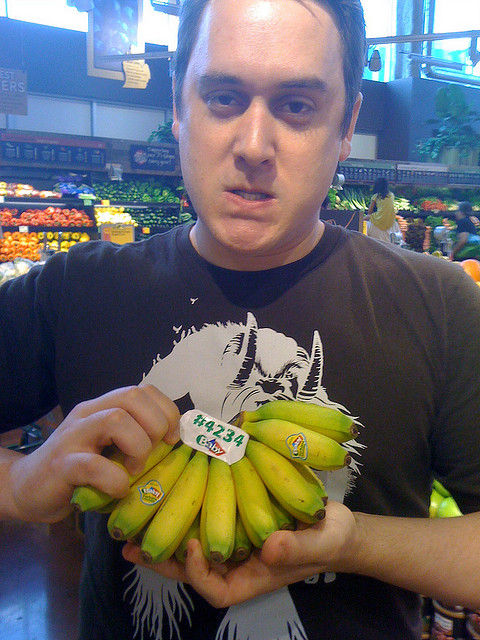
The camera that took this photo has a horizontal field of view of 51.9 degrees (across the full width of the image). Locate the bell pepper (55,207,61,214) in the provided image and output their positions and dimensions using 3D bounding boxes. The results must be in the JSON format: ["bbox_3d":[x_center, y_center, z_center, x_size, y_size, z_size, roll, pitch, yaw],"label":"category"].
[{"bbox_3d":[-2.359,-1.411,6.376,0.070,0.083,0.231,-5,13,-19],"label":"bell pepper"}]

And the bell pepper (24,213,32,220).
[{"bbox_3d":[-2.606,-1.274,6.071,0.088,0.077,0.112,-3,12,-7],"label":"bell pepper"}]

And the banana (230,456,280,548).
[{"bbox_3d":[0.018,0.270,0.740,0.047,0.156,0.050,-24,-32,-3],"label":"banana"}]

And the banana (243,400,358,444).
[{"bbox_3d":[0.086,0.176,0.825,0.234,0.082,0.061,3,35,-19],"label":"banana"}]

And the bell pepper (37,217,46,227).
[{"bbox_3d":[-2.452,-1.208,6.128,0.095,0.120,0.095,-27,-24,28],"label":"bell pepper"}]

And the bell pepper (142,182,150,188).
[{"bbox_3d":[-1.477,-2.110,7.716,0.106,0.084,0.135,-3,12,-10],"label":"bell pepper"}]

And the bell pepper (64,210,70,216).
[{"bbox_3d":[-2.252,-1.388,6.400,0.064,0.072,0.054,-5,13,-19],"label":"bell pepper"}]

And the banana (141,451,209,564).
[{"bbox_3d":[-0.100,0.296,0.742,0.059,0.063,0.209,24,26,6],"label":"banana"}]

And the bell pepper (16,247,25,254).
[{"bbox_3d":[-2.559,-0.801,5.731,0.091,0.086,0.032,7,-10,-30],"label":"bell pepper"}]

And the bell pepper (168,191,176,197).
[{"bbox_3d":[-1.079,-2.010,7.867,0.095,0.115,0.030,9,-14,-25],"label":"bell pepper"}]

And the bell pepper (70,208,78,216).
[{"bbox_3d":[-2.188,-1.413,6.475,0.097,0.091,0.162,-5,12,-18],"label":"bell pepper"}]

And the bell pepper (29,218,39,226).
[{"bbox_3d":[-2.523,-1.186,6.011,0.082,0.078,0.029,15,-1,-19],"label":"bell pepper"}]

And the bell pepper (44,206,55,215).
[{"bbox_3d":[-2.418,-1.389,6.270,0.100,0.057,0.122,10,19,2],"label":"bell pepper"}]

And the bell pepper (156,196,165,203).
[{"bbox_3d":[-1.224,-1.842,7.544,0.124,0.099,0.163,-3,12,-8],"label":"bell pepper"}]

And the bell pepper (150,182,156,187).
[{"bbox_3d":[-1.391,-2.151,7.838,0.091,0.084,0.026,9,-19,-23],"label":"bell pepper"}]

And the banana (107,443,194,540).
[{"bbox_3d":[-0.127,0.255,0.820,0.217,0.064,0.074,-50,0,-40],"label":"banana"}]

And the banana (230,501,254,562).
[{"bbox_3d":[0.001,0.326,0.778,0.028,0.098,0.037,-9,-13,24],"label":"banana"}]
